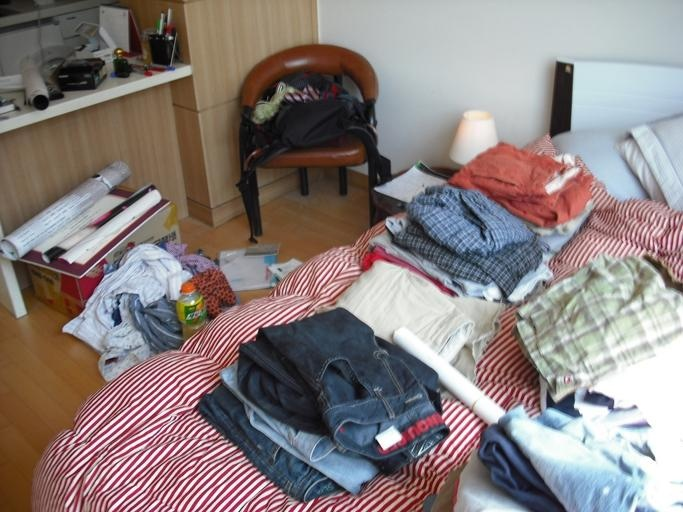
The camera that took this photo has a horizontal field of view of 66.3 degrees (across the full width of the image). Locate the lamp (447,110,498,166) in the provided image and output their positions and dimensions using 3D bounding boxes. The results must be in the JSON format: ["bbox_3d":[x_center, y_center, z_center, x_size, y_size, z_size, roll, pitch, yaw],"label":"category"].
[{"bbox_3d":[0.682,-0.592,2.837,0.288,0.309,0.319,1,42,6],"label":"lamp"}]

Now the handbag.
[{"bbox_3d":[-0.145,-0.712,2.914,0.495,0.246,0.672,9,30,20],"label":"handbag"}]
